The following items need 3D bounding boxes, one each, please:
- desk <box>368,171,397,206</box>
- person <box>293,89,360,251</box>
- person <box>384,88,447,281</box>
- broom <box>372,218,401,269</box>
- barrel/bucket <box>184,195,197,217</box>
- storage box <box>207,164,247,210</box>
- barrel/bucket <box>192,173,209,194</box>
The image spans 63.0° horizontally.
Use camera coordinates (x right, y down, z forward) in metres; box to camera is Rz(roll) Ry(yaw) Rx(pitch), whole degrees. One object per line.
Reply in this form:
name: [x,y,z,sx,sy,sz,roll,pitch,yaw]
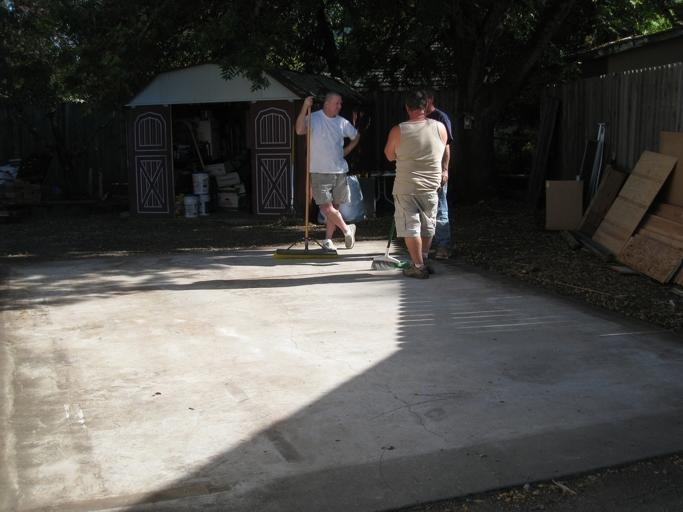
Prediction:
desk: [1.216,-2.022,16.062,0.967,1.082,1.038,-2,6,15]
person: [-0.191,-1.416,8.408,0.836,2.543,0.814,5,11,8]
person: [0.887,-0.829,6.939,0.660,2.077,0.931,-1,2,-44]
broom: [0.653,-0.185,7.561,0.362,0.069,0.974,6,55,10]
barrel/bucket: [-4.102,-1.370,15.349,0.406,0.576,0.370,0,12,0]
storage box: [-3.551,-2.242,17.438,0.894,1.462,1.049,4,8,0]
barrel/bucket: [-4.001,-2.075,15.974,0.444,0.603,0.534,-3,12,-15]
